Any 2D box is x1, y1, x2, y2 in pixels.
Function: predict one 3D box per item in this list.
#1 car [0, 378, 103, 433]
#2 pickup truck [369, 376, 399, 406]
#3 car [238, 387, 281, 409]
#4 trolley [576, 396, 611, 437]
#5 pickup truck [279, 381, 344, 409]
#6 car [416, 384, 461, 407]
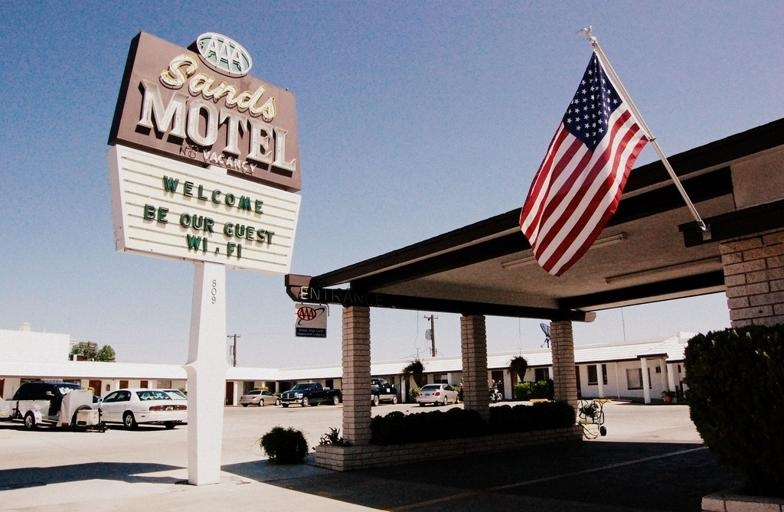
[{"bbox_3d":[-15.993,7.453,29.214,6.148,2.529,2.364,-12,-19,38],"label":"car"},{"bbox_3d":[-0.868,11.300,49.115,1.398,2.206,3.661,-7,-16,22],"label":"pickup truck"},{"bbox_3d":[-11.189,11.937,49.736,3.020,1.539,2.474,4,-16,-19],"label":"car"},{"bbox_3d":[8.553,7.052,25.993,1.620,1.729,1.223,0,-8,15],"label":"trolley"},{"bbox_3d":[-6.576,11.130,47.458,4.477,1.835,1.690,11,-19,-37],"label":"pickup truck"},{"bbox_3d":[3.453,10.582,45.099,2.840,1.620,1.996,11,-19,-37],"label":"car"}]
